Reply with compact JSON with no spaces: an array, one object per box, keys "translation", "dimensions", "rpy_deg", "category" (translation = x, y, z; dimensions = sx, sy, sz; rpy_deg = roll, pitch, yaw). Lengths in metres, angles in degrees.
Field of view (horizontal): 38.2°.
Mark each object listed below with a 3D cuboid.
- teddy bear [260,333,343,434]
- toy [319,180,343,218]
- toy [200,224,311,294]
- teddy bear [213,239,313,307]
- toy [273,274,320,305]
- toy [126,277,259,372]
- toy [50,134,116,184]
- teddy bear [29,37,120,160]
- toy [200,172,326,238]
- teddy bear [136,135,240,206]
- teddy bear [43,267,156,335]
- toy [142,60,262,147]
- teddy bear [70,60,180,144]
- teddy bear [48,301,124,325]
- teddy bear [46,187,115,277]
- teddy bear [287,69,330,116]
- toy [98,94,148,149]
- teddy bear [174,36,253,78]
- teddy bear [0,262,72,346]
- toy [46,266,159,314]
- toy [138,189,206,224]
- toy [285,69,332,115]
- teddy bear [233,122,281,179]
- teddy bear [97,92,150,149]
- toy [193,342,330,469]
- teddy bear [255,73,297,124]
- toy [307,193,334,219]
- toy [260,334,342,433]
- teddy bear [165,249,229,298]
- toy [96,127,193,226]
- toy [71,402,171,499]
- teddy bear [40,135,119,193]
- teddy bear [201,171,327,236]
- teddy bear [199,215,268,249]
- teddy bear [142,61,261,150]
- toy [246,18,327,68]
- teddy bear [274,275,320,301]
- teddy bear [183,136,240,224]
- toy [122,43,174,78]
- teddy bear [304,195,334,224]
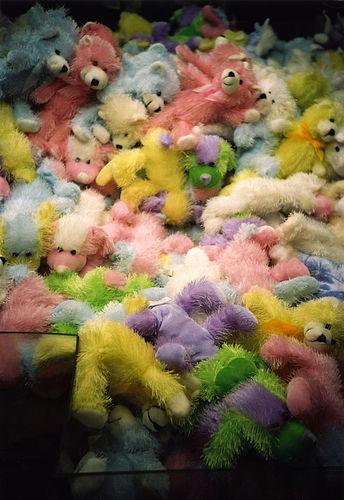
[{"translation":[0.256,0.226,0.884],"dimensions":[0.048,0.148,0.144],"rpy_deg":[-56,9,-19],"category":"teddy bear"},{"translation":[0.405,-0.128,1.275],"dimensions":[0.085,0.082,0.033],"rpy_deg":[1,-14,21],"category":"toy"},{"translation":[0.185,0.018,1.159],"dimensions":[0.197,0.058,0.182],"rpy_deg":[-8,37,-34],"category":"toy"},{"translation":[0.239,0.046,1.174],"dimensions":[0.192,0.096,0.232],"rpy_deg":[-21,30,5],"category":"teddy bear"},{"translation":[0.270,0.085,1.080],"dimensions":[0.085,0.034,0.061],"rpy_deg":[-19,22,-27],"category":"toy"},{"translation":[0.041,0.140,0.938],"dimensions":[0.177,0.059,0.167],"rpy_deg":[-19,36,-34],"category":"toy"},{"translation":[-0.234,-0.241,1.317],"dimensions":[0.158,0.053,0.128],"rpy_deg":[2,59,-12],"category":"toy"},{"translation":[-0.273,-0.409,1.343],"dimensions":[0.199,0.337,0.223],"rpy_deg":[34,28,30],"category":"teddy bear"},{"translation":[0.233,-0.129,1.255],"dimensions":[0.283,0.089,0.150],"rpy_deg":[-14,36,-8],"category":"toy"},{"translation":[0.084,-0.219,1.308],"dimensions":[0.159,0.169,0.195],"rpy_deg":[-1,24,-1],"category":"teddy bear"},{"translation":[-0.158,0.076,1.145],"dimensions":[0.174,0.072,0.171],"rpy_deg":[-15,9,-31],"category":"teddy bear"},{"translation":[0.080,-0.416,1.370],"dimensions":[0.332,0.131,0.280],"rpy_deg":[-15,38,-2],"category":"toy"},{"translation":[-0.116,-0.390,1.409],"dimensions":[0.309,0.170,0.119],"rpy_deg":[-31,9,4],"category":"teddy bear"},{"translation":[-0.167,0.114,1.001],"dimensions":[0.155,0.049,0.061],"rpy_deg":[-3,2,-6],"category":"teddy bear"},{"translation":[-0.212,-0.041,1.234],"dimensions":[0.166,0.114,0.197],"rpy_deg":[23,66,-13],"category":"teddy bear"},{"translation":[0.372,-0.445,1.434],"dimensions":[0.116,0.109,0.138],"rpy_deg":[-3,3,3],"category":"teddy bear"},{"translation":[-0.123,-0.352,1.376],"dimensions":[0.153,0.133,0.145],"rpy_deg":[4,13,-4],"category":"toy"},{"translation":[0.104,-0.541,1.412],"dimensions":[0.200,0.134,0.109],"rpy_deg":[14,14,-8],"category":"teddy bear"},{"translation":[-0.293,0.114,1.051],"dimensions":[0.141,0.061,0.143],"rpy_deg":[-24,45,-35],"category":"teddy bear"},{"translation":[-0.179,0.075,1.138],"dimensions":[0.175,0.064,0.176],"rpy_deg":[19,22,37],"category":"toy"},{"translation":[-0.003,-0.113,1.311],"dimensions":[0.138,0.093,0.051],"rpy_deg":[17,55,-4],"category":"toy"},{"translation":[0.394,-0.450,1.411],"dimensions":[0.105,0.104,0.126],"rpy_deg":[-8,29,-44],"category":"toy"},{"translation":[0.225,-0.263,1.319],"dimensions":[0.141,0.107,0.141],"rpy_deg":[-4,59,17],"category":"teddy bear"},{"translation":[-0.116,-0.336,1.346],"dimensions":[0.099,0.142,0.168],"rpy_deg":[-1,14,0],"category":"teddy bear"},{"translation":[0.119,0.278,0.833],"dimensions":[0.176,0.091,0.236],"rpy_deg":[-14,35,-27],"category":"toy"},{"translation":[0.288,-0.414,1.367],"dimensions":[0.070,0.107,0.146],"rpy_deg":[2,24,-34],"category":"teddy bear"},{"translation":[0.375,-0.114,1.277],"dimensions":[0.055,0.035,0.063],"rpy_deg":[-30,22,6],"category":"toy"},{"translation":[0.238,0.229,0.863],"dimensions":[0.153,0.048,0.149],"rpy_deg":[21,12,-15],"category":"toy"},{"translation":[0.049,0.050,1.140],"dimensions":[0.107,0.046,0.111],"rpy_deg":[-16,23,-5],"category":"teddy bear"},{"translation":[-0.076,-0.201,1.390],"dimensions":[0.272,0.241,0.111],"rpy_deg":[27,0,-17],"category":"toy"},{"translation":[-0.085,0.324,0.797],"dimensions":[0.151,0.078,0.144],"rpy_deg":[-2,32,-10],"category":"toy"},{"translation":[-0.238,-0.232,1.348],"dimensions":[0.251,0.080,0.148],"rpy_deg":[-4,37,-1],"category":"teddy bear"},{"translation":[0.243,-0.128,1.289],"dimensions":[0.279,0.088,0.146],"rpy_deg":[-11,31,-8],"category":"teddy bear"},{"translation":[0.154,-0.035,1.266],"dimensions":[0.131,0.055,0.091],"rpy_deg":[-25,10,-4],"category":"teddy bear"},{"translation":[0.100,-0.416,1.382],"dimensions":[0.385,0.131,0.262],"rpy_deg":[-2,13,45],"category":"teddy bear"},{"translation":[0.340,-0.606,1.522],"dimensions":[0.194,0.076,0.169],"rpy_deg":[1,5,12],"category":"toy"},{"translation":[0.274,0.083,1.080],"dimensions":[0.092,0.032,0.046],"rpy_deg":[-3,31,17],"category":"teddy bear"},{"translation":[0.095,-0.201,1.359],"dimensions":[0.212,0.230,0.194],"rpy_deg":[2,19,-1],"category":"teddy bear"},{"translation":[-0.080,-0.513,1.348],"dimensions":[0.143,0.057,0.085],"rpy_deg":[-21,34,-11],"category":"toy"},{"translation":[0.386,-0.104,1.302],"dimensions":[0.071,0.044,0.080],"rpy_deg":[-2,-2,3],"category":"teddy bear"}]
